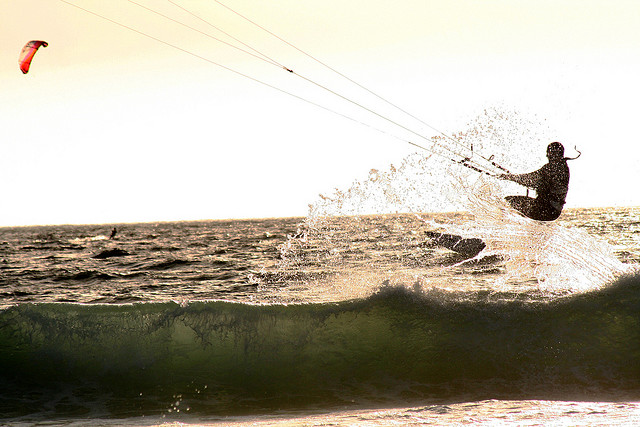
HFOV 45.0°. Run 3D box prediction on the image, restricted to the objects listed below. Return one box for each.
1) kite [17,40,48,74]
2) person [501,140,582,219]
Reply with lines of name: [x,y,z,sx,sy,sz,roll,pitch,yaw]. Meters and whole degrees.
kite: [-6.842,-3.815,18.440,0.599,0.728,0.179,-4,-47,9]
person: [5.753,-0.819,20.251,1.380,1.773,1.236,-1,-12,26]
